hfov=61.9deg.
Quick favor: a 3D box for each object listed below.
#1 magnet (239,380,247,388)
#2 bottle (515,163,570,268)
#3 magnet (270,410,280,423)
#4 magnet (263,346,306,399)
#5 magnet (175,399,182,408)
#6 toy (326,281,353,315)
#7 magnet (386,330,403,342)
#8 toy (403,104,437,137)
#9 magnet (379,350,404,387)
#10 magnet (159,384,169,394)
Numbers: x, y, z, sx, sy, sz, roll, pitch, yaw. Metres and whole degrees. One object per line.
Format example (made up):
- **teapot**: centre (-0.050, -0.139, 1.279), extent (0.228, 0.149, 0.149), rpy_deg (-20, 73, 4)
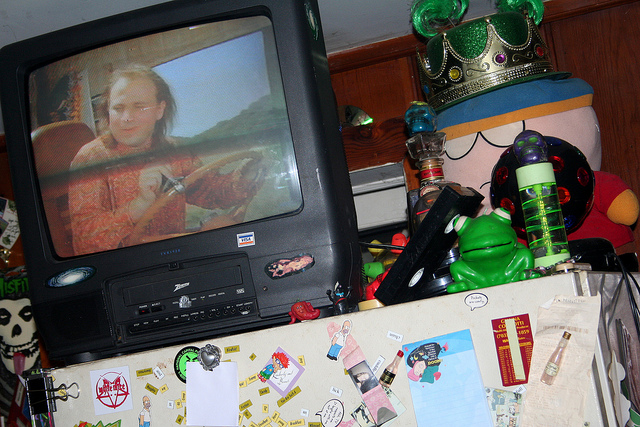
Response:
- **magnet**: centre (-0.211, 0.474, 1.469), extent (0.021, 0.015, 0.003), rpy_deg (-1, -13, 5)
- **bottle**: centre (0.617, -0.004, 1.547), extent (0.111, 0.323, 0.116), rpy_deg (-6, -8, -1)
- **magnet**: centre (-0.121, 0.557, 1.454), extent (0.023, 0.035, 0.008), rpy_deg (33, 1, 1)
- **magnet**: centre (-0.092, 0.445, 1.458), extent (0.114, 0.114, 0.026), rpy_deg (-47, -12, 3)
- **magnet**: centre (-0.393, 0.534, 1.487), extent (0.020, 0.019, 0.020), rpy_deg (-2, -4, 9)
- **toy**: centre (0.060, 0.262, 1.593), extent (0.092, 0.108, 0.042), rpy_deg (-12, 10, -20)
- **magnet**: centre (0.200, 0.330, 1.430), extent (0.041, 0.022, 0.006), rpy_deg (-8, -5, -1)
- **toy**: centre (0.370, -0.341, 1.987), extent (0.102, 0.101, 0.116), rpy_deg (-10, -35, 29)
- **magnet**: centre (0.193, 0.420, 1.434), extent (0.050, 0.103, 0.050), rpy_deg (28, -5, -8)
- **magnet**: centre (-0.438, 0.495, 1.495), extent (0.022, 0.020, 0.006), rpy_deg (-37, -2, 2)
